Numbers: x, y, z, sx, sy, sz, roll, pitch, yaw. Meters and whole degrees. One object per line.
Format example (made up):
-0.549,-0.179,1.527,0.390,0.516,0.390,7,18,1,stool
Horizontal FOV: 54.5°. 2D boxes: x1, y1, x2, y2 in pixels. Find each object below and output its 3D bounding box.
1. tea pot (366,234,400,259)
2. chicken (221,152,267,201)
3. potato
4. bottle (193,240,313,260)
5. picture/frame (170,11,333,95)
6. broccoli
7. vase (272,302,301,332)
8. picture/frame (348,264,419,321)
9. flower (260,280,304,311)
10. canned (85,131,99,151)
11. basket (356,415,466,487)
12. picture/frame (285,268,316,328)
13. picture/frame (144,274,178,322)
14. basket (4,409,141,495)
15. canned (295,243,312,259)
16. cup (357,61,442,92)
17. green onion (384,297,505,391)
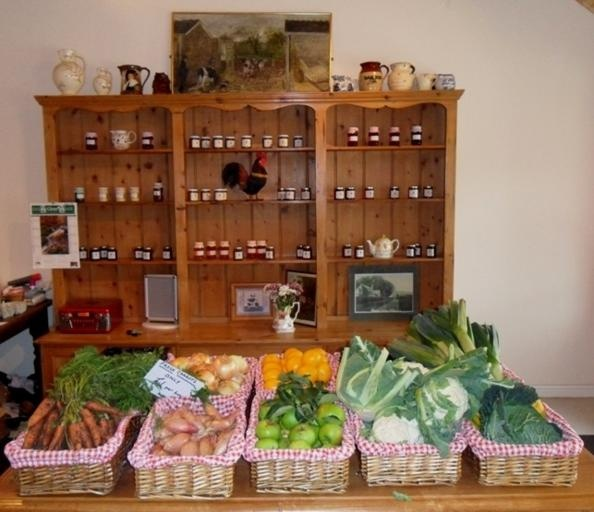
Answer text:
0.603,-0.056,3.974,0.247,0.128,0.146,1,6,-5,tea pot
-0.355,-0.538,3.774,0.309,0.260,0.099,4,12,30,chicken
-0.341,0.574,2.081,0.428,0.111,0.277,0,12,-4,potato
-0.317,-0.050,3.983,0.849,0.130,0.308,-1,9,-1,bottle
-0.305,-1.351,3.806,1.055,0.528,0.164,-1,11,-1,picture/frame
0.390,0.461,2.131,0.620,0.305,0.395,1,14,-4,broccoli
-0.083,0.414,3.931,0.252,0.202,0.169,2,5,-4,vase
0.618,0.240,4.058,0.521,0.320,0.025,0,0,1,picture/frame
-0.086,0.262,3.832,0.248,0.137,0.214,2,-8,-5,flower
-1.391,-0.777,3.881,0.086,0.128,0.246,-5,10,-18,canned
0.463,0.736,1.993,0.377,0.111,0.297,-10,-29,31,basket
0.024,0.290,4.021,0.291,0.361,0.014,5,7,39,picture/frame
-0.927,0.287,3.926,0.237,0.334,0.089,-1,11,1,picture/frame
-0.733,0.664,1.975,0.340,0.214,0.377,-1,1,-11,basket
0.048,-0.028,3.901,0.095,0.088,0.108,-2,9,-6,canned
0.655,-1.175,3.801,0.495,0.219,0.411,0,9,8,cup
0.617,0.332,2.336,0.377,0.311,0.444,-1,12,-12,green onion
